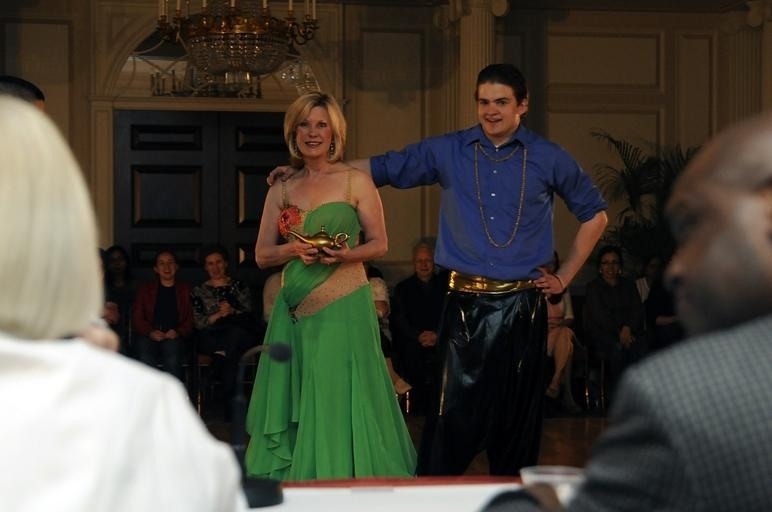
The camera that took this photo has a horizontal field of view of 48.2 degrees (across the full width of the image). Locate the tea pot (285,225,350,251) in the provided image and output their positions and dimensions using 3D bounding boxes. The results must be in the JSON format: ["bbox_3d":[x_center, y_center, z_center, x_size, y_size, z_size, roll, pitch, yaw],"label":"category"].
[{"bbox_3d":[-0.246,-0.087,3.367,0.186,0.086,0.096,6,9,14],"label":"tea pot"}]

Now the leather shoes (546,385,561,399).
[{"bbox_3d":[1.171,0.937,6.007,0.061,0.087,0.122,-2,-15,18],"label":"leather shoes"}]
